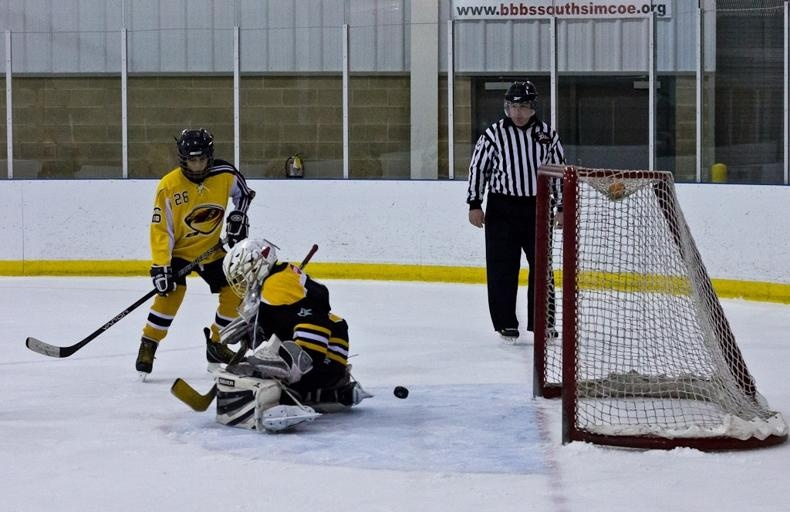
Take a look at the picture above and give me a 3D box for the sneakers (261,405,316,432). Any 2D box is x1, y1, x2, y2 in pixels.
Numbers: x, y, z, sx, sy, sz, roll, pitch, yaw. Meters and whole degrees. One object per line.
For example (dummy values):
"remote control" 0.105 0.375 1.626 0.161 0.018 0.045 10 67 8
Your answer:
"sneakers" -0.565 0.845 5.711 0.241 0.110 0.142 -3 37 -9

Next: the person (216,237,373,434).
"person" -0.595 0.408 6.022 0.893 0.951 0.903 0 4 21

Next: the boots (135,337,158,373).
"boots" -1.514 0.610 6.609 0.091 0.256 0.115 18 -33 -30

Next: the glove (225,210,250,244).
"glove" -0.999 -0.178 6.787 0.158 0.205 0.205 2 -18 -3

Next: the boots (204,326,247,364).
"boots" -1.017 0.562 6.554 0.356 0.249 0.114 5 21 39

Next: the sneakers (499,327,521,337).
"sneakers" 0.773 0.508 7.213 0.135 0.060 0.050 1 3 15

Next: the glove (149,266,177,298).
"glove" -1.418 0.157 6.598 0.130 0.179 0.085 -2 -10 -8

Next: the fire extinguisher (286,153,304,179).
"fire extinguisher" -0.950 -0.853 10.183 0.236 0.267 0.198 2 8 6

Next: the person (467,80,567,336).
"person" 0.803 -0.305 7.189 0.630 1.681 0.415 1 14 5

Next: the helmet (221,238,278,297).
"helmet" -0.844 0.044 5.915 0.334 0.316 0.261 21 -11 -29

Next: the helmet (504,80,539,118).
"helmet" 0.855 -1.059 7.164 0.240 0.246 0.279 4 16 27

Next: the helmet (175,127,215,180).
"helmet" -1.234 -0.643 6.656 0.246 0.280 0.296 -8 29 -25
